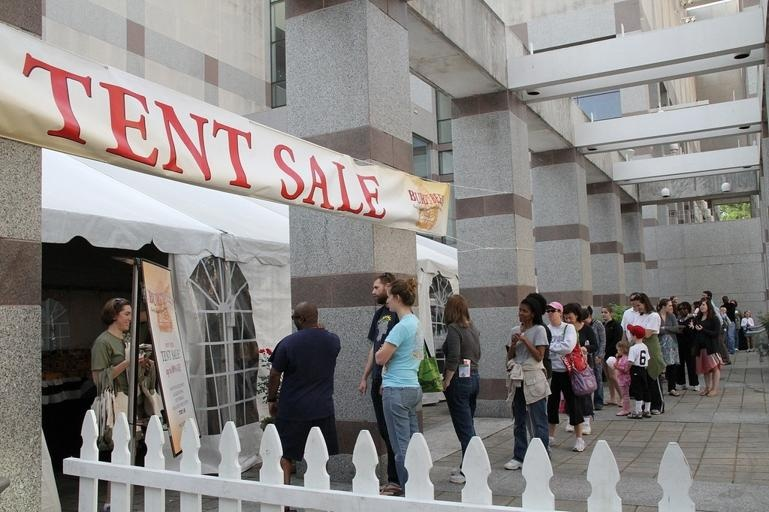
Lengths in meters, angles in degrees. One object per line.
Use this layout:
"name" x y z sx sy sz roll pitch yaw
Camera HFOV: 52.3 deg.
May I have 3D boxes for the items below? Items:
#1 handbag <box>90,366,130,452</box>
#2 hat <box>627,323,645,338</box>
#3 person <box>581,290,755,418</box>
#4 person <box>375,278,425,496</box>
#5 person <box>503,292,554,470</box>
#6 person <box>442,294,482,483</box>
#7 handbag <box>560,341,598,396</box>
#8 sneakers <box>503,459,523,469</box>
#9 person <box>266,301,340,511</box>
"handbag" -3.338 1.860 9.538 0.378 1.015 0.390 -2 -4 -20
"hat" 4.360 1.283 13.529 0.283 0.242 0.319 -4 -4 16
"person" 5.666 2.003 15.830 1.080 3.012 1.345 20 -30 -30
"person" 0.208 1.516 9.353 0.635 2.491 0.314 -2 -4 -14
"person" 1.957 1.702 10.777 0.684 2.388 0.486 -4 -4 11
"person" 1.009 1.533 10.348 0.444 2.077 0.638 -4 -4 13
"handbag" 2.991 1.708 11.766 0.380 0.819 0.672 -5 -4 27
"sneakers" 1.737 2.818 10.577 0.126 0.142 0.322 -14 -20 42
"person" -0.955 1.620 9.438 0.866 2.139 0.326 -2 -4 -11
